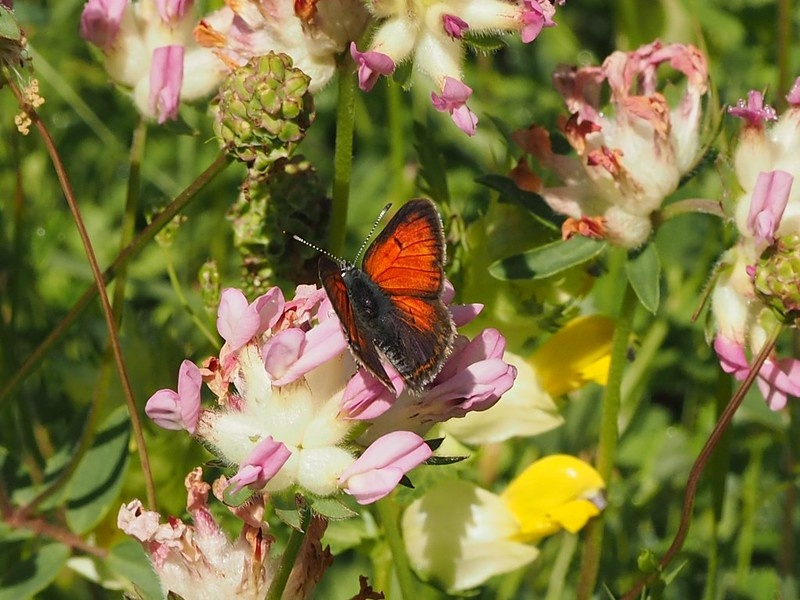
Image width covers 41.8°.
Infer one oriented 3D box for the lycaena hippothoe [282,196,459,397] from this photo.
[{"bbox_3d":[-0.035,-0.014,1.616,0.124,0.219,0.296,-18,80,-54],"label":"lycaena hippothoe"}]
